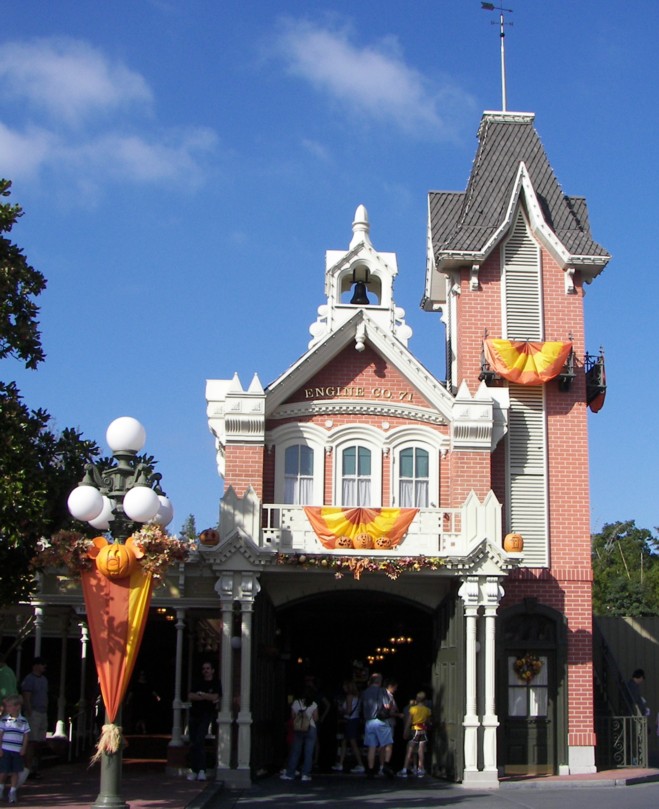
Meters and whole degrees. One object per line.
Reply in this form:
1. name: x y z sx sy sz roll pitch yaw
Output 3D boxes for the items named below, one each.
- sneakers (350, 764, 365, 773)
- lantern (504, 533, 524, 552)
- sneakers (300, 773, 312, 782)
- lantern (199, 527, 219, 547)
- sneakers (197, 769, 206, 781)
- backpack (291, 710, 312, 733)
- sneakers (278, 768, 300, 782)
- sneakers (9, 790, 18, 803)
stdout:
1. sneakers: 0.525 7.013 31.961 0.286 0.123 0.099 2 -11 4
2. lantern: 3.487 2.630 31.966 0.344 0.402 0.343 2 1 -20
3. sneakers: -0.429 6.770 30.186 0.150 0.143 0.353 -1 -9 7
4. lantern: -2.216 2.508 31.163 0.380 0.393 0.693 2 -12 -3
5. sneakers: -2.213 6.477 29.070 0.113 0.141 0.333 1 -15 -4
6. backpack: -0.512 5.762 30.397 0.341 0.442 0.306 -1 -12 8
7. sneakers: -0.745 6.828 30.586 0.163 0.219 0.481 6 -9 -20
8. sneakers: -4.569 5.733 24.373 0.128 0.212 0.392 4 -12 -12
